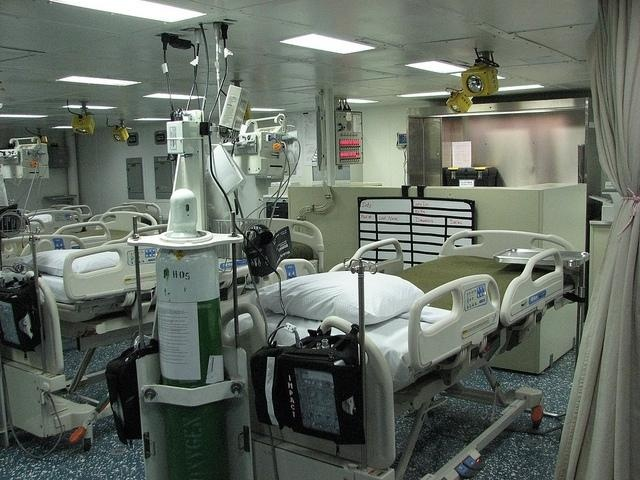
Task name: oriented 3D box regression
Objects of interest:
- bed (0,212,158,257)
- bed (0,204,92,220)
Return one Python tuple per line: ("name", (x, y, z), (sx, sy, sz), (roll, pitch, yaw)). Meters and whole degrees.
("bed", (-2.545, -0.065, 5.358), (0.515, 0.393, 0.964), (3, 7, 36))
("bed", (-3.821, -0.399, 7.297), (0.545, 0.261, 0.953), (4, 11, 22))
